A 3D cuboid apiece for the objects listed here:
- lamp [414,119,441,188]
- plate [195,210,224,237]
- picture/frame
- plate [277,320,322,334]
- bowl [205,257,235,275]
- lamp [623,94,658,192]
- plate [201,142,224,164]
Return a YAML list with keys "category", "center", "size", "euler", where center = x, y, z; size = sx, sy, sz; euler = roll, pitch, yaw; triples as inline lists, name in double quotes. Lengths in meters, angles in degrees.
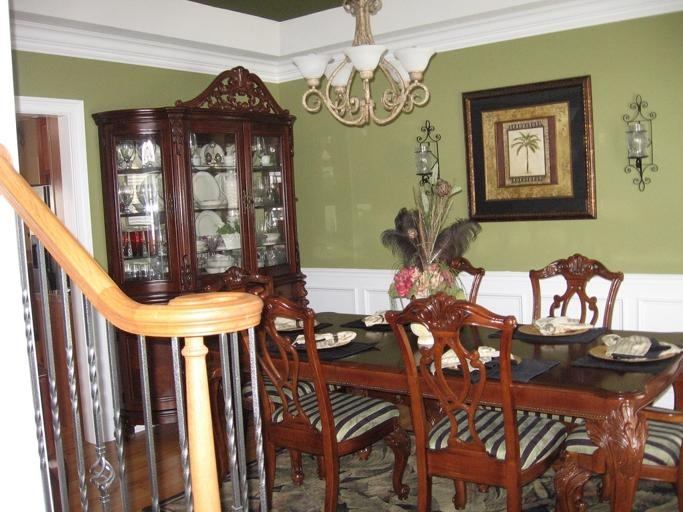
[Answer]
- category: "lamp"
  center: [0.746, -0.919, 4.779]
  size: [0.232, 0.577, 0.257]
  euler: [0, 8, 20]
- category: "plate"
  center: [-1.078, -0.264, 4.550]
  size: [0.027, 0.203, 0.197]
  euler: [6, 6, 43]
- category: "picture/frame"
  center: [1.559, -0.888, 4.384]
  size: [1.235, 1.337, 0.103]
  euler: [-2, 6, 33]
- category: "plate"
  center: [-0.271, 0.441, 3.324]
  size: [0.166, 0.017, 0.168]
  euler: [1, 2, 27]
- category: "bowl"
  center: [-1.060, 0.070, 4.670]
  size: [0.190, 0.097, 0.193]
  euler: [-2, 1, 0]
- category: "lamp"
  center: [2.184, -0.830, 3.959]
  size: [0.245, 0.719, 0.188]
  euler: [2, 9, 28]
- category: "plate"
  center: [-1.108, -0.880, 4.643]
  size: [0.176, 0.175, 0.041]
  euler: [4, 3, -43]
